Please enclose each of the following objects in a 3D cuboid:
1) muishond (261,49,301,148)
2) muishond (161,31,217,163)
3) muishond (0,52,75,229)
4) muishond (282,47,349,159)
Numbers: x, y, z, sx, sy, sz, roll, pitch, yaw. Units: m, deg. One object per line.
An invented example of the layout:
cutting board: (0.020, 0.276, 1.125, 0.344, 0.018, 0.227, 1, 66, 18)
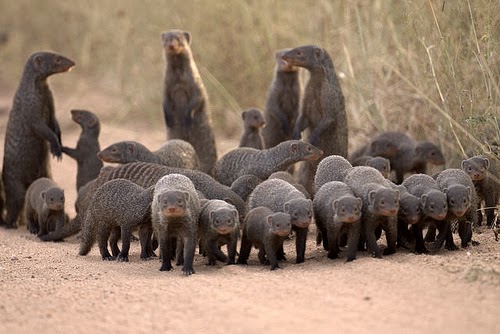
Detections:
muishond: (0.580, -1.184, 12.265, 0.532, 2.010, 1.038, 2, 11, -24)
muishond: (-1.115, -1.269, 11.836, 0.726, 2.523, 1.179, -5, 23, 8)
muishond: (-3.701, -0.456, 11.345, 0.729, 2.920, 1.423, 9, -13, -44)
muishond: (1.122, -1.090, 11.023, 0.949, 1.769, 0.872, -2, -9, 8)
